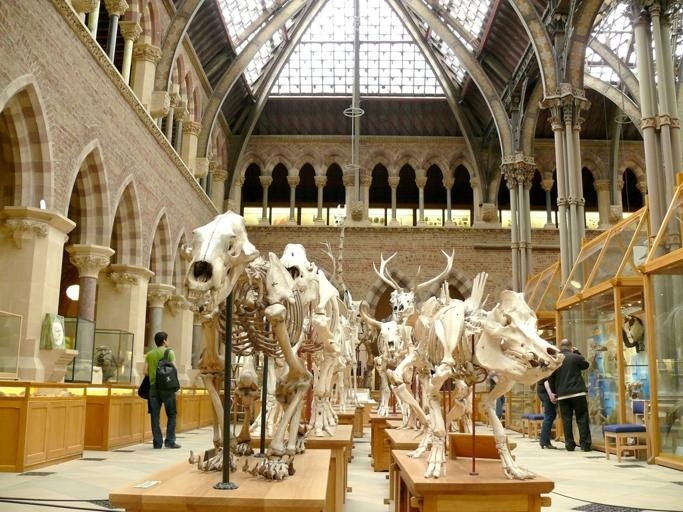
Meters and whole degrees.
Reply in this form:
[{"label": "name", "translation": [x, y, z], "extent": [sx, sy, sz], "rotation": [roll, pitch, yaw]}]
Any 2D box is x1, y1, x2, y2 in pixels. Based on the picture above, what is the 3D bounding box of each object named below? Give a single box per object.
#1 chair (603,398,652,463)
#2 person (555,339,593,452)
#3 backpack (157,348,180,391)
[{"label": "chair", "translation": [4.800, 2.889, 10.298], "extent": [0.661, 0.971, 0.655], "rotation": [6, -9, -31]}, {"label": "person", "translation": [4.398, 2.632, 11.639], "extent": [0.697, 2.111, 1.030], "rotation": [-6, -13, 20]}, {"label": "backpack", "translation": [-3.038, 1.999, 10.738], "extent": [0.382, 0.767, 0.297], "rotation": [3, -13, -21]}]
